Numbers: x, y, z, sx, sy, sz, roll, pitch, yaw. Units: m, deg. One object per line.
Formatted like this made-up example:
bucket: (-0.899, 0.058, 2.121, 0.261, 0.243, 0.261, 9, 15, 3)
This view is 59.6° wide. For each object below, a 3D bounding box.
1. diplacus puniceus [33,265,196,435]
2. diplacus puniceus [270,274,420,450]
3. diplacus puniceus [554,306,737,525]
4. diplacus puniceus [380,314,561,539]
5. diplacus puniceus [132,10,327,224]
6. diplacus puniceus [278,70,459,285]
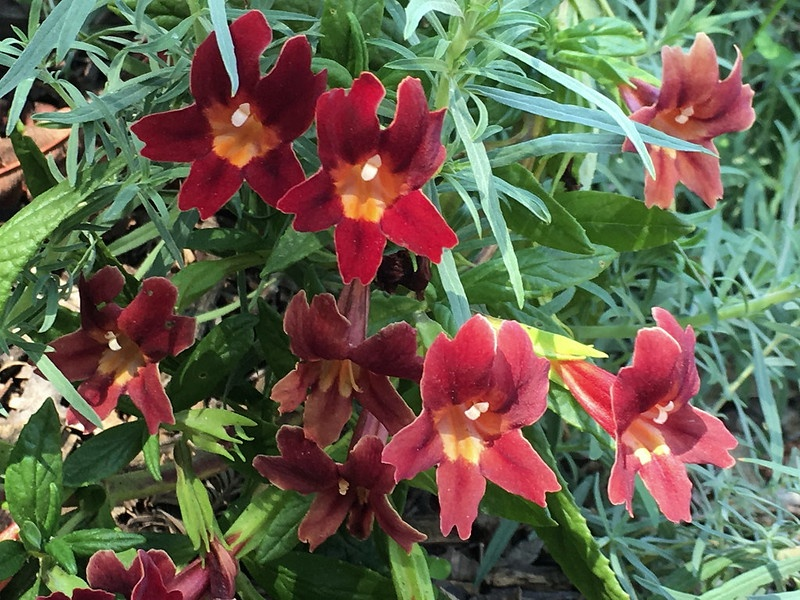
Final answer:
diplacus puniceus: (-0.473, 0.077, 1.193, 0.295, 0.250, 0.153, 29, 43, 7)
diplacus puniceus: (-0.090, 0.097, 1.116, 0.265, 0.121, 0.243, -21, 77, -48)
diplacus puniceus: (0.395, 0.188, 1.106, 0.294, 0.310, 0.132, -17, 53, -7)
diplacus puniceus: (0.102, 0.172, 1.064, 0.321, 0.326, 0.104, -12, 26, -21)
diplacus puniceus: (-0.249, -0.269, 1.087, 0.314, 0.159, 0.336, -7, 63, 28)
diplacus puniceus: (-0.046, -0.147, 1.041, 0.259, 0.340, 0.161, 12, 43, -11)
